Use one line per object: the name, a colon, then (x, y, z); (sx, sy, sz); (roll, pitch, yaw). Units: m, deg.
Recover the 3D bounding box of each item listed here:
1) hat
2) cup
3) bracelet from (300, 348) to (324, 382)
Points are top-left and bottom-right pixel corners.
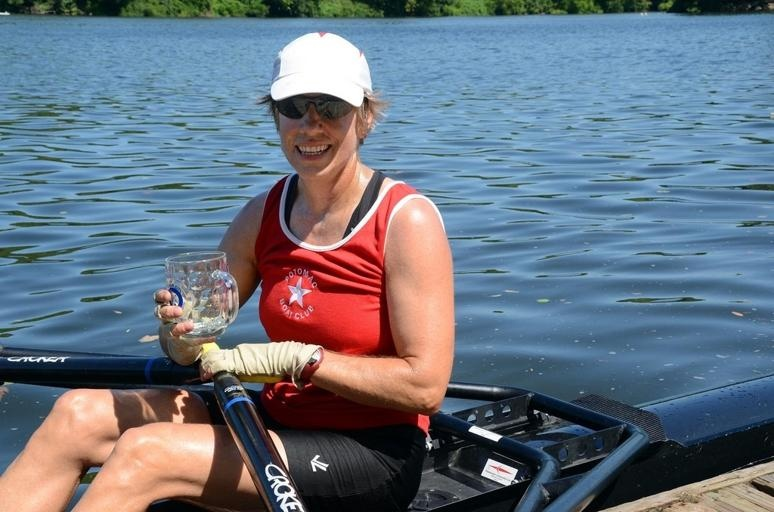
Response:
hat: (-0.318, -0.942, 4.015); (0.445, 0.208, 0.496); (3, 1, 8)
cup: (-0.899, 0.220, 3.933); (0.321, 0.472, 0.316); (0, 24, 0)
bracelet: (-0.351, 0.512, 3.820); (0.103, 0.145, 0.117); (32, 9, -2)
